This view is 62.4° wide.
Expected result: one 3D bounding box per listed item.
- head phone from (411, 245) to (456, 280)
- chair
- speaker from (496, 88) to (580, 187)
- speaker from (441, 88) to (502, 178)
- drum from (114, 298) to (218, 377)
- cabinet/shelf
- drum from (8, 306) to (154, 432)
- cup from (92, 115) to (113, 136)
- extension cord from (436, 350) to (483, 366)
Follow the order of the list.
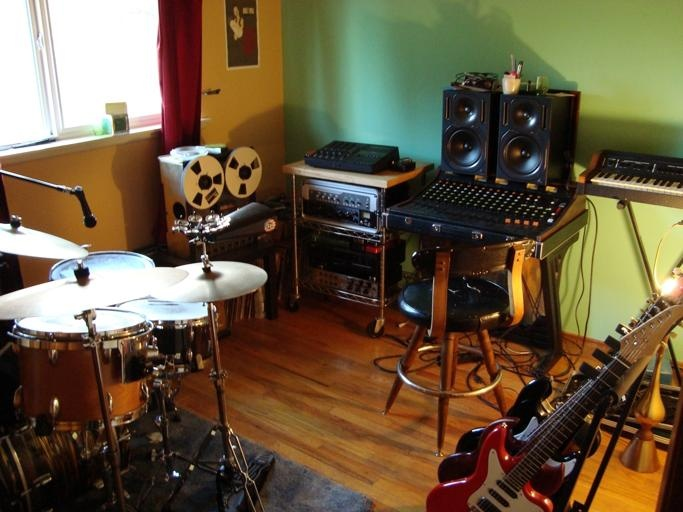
[{"bbox_3d":[0.425,0.014,2.643,0.143,0.170,0.151,-4,32,-6],"label":"head phone"},{"bbox_3d":[0.594,0.402,2.922,0.603,1.115,0.636,15,25,40],"label":"chair"},{"bbox_3d":[1.123,-0.731,3.365,0.344,0.518,0.355,17,29,40],"label":"speaker"},{"bbox_3d":[0.778,-0.764,3.492,0.300,0.503,0.297,9,14,33],"label":"speaker"},{"bbox_3d":[-0.806,0.423,2.679,0.302,0.215,0.306,-5,-7,-1],"label":"drum"},{"bbox_3d":[0.100,-0.153,4.102,0.802,1.104,0.707,14,25,32],"label":"cabinet/shelf"},{"bbox_3d":[-1.113,0.463,2.435,0.497,0.416,0.509,-3,10,-34],"label":"drum"},{"bbox_3d":[-1.527,-0.829,3.583,0.181,0.113,0.093,17,27,39],"label":"cup"},{"bbox_3d":[0.682,0.590,3.243,0.161,0.044,0.172,-5,5,-20],"label":"extension cord"}]
